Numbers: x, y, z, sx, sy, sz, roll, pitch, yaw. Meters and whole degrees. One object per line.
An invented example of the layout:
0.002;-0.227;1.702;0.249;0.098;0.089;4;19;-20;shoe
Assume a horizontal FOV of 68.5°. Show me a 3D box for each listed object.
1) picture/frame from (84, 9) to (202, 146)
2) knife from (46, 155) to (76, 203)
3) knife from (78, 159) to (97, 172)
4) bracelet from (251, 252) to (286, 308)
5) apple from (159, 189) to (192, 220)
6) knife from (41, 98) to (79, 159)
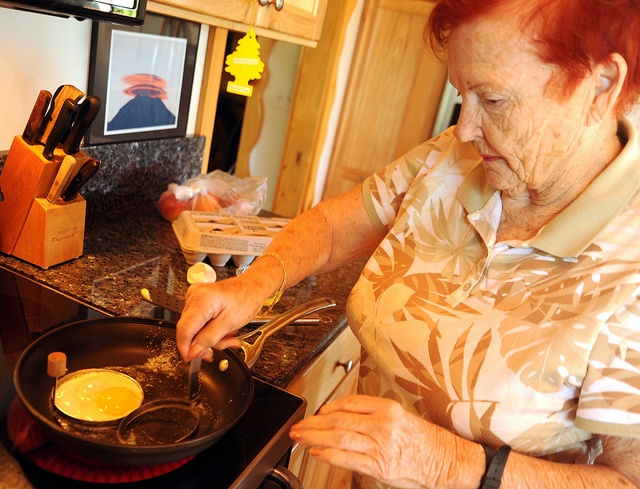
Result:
-0.568;-0.532;1.565;0.388;0.417;0.030;7;3;16;picture/frame
-0.626;-0.164;1.137;0.024;0.122;0.031;35;29;6;knife
-0.560;-0.193;1.141;0.036;0.010;0.023;-12;59;11;knife
-0.114;0.096;1.181;0.031;0.130;0.091;17;-1;-3;bracelet
-0.493;-0.150;1.657;0.095;0.101;0.097;13;23;27;apple
-0.616;-0.281;1.117;0.034;0.140;0.036;25;12;-12;knife
